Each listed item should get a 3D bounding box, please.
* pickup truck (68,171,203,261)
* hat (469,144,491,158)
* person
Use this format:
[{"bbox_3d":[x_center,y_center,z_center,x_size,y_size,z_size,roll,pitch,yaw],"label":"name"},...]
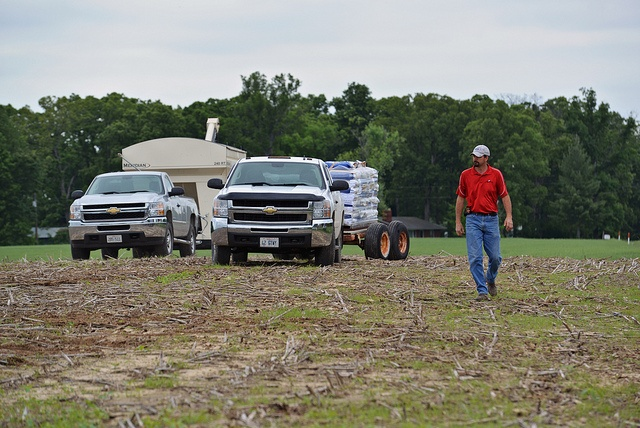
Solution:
[{"bbox_3d":[-4.417,0.023,21.579,2.011,1.301,3.231,-2,-4,8],"label":"pickup truck"},{"bbox_3d":[2.652,-1.025,13.973,0.229,0.164,0.328,2,-1,32],"label":"hat"},{"bbox_3d":[2.709,0.117,13.892,0.723,2.404,1.139,0,7,-7],"label":"person"}]
